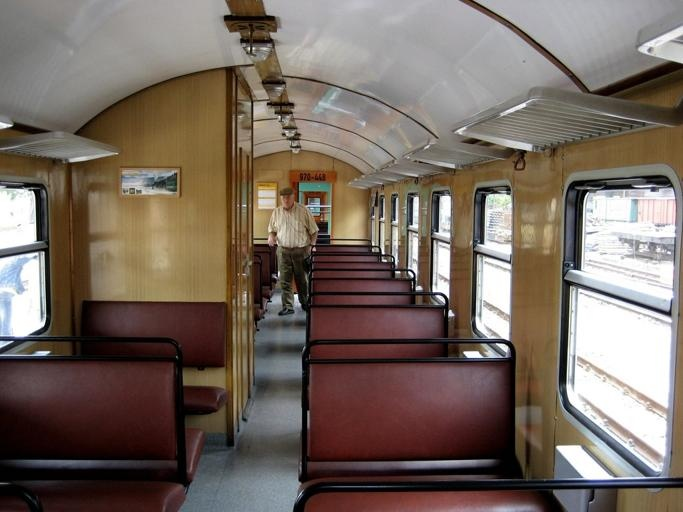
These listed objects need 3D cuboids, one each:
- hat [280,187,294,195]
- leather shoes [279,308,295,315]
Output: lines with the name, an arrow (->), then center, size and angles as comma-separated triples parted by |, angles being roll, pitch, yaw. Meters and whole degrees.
hat -> -1.005, -1.205, 10.108 | 0.217, 0.136, 0.285 | 0, 8, -3
leather shoes -> -1.179, 1.175, 11.519 | 0.368, 0.169, 0.126 | 4, 0, -25
